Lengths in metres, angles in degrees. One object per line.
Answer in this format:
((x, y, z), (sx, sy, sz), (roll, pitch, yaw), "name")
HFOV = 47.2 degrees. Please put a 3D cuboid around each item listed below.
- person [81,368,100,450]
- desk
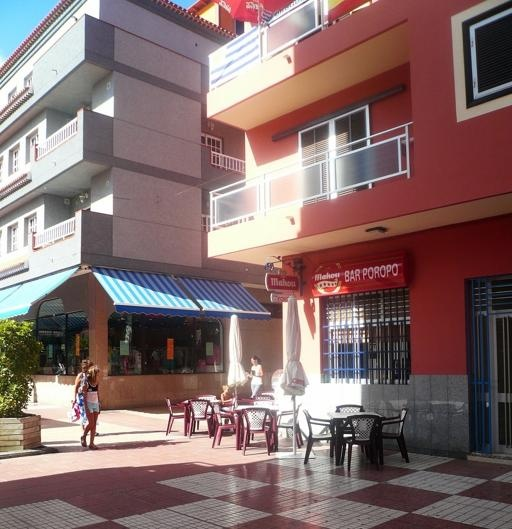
((-3.582, 3.076, 12.588), (0.354, 1.678, 0.804), (1, -7, -17), "person")
((1.769, 2.974, 10.185), (0.882, 1.358, 0.906), (0, -1, -3), "desk")
